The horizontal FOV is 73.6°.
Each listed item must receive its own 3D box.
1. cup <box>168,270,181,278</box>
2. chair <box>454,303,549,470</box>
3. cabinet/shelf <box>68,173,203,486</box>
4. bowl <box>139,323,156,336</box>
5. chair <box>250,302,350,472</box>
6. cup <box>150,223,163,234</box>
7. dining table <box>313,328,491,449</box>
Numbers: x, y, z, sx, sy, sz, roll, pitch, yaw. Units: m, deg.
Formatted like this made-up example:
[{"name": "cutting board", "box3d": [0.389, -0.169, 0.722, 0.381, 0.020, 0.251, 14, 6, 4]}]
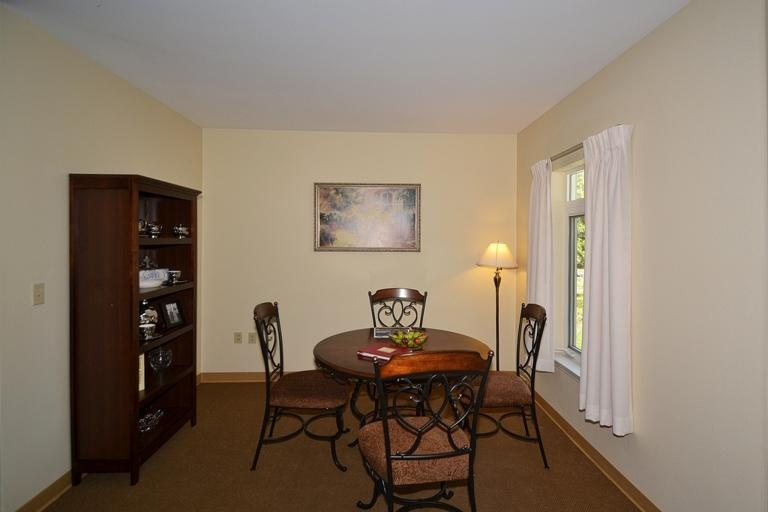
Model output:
[{"name": "cup", "box3d": [-1.928, 0.178, 4.733, 0.086, 0.071, 0.085, 3, -1, 0]}, {"name": "chair", "box3d": [0.981, 1.114, 4.555, 0.938, 1.312, 0.923, -1, 1, -21]}, {"name": "cabinet/shelf", "box3d": [-2.111, 0.574, 4.411, 0.567, 2.455, 1.003, 1, 3, 15]}, {"name": "bowl", "box3d": [-2.007, 0.638, 4.367, 0.099, 0.071, 0.101, 2, -9, 0]}, {"name": "chair", "box3d": [-0.707, 1.129, 4.549, 0.922, 1.344, 0.844, 1, 5, -8]}, {"name": "cup", "box3d": [-2.028, -0.230, 4.548, 0.093, 0.057, 0.130, 4, 17, -18]}, {"name": "dining table", "box3d": [-0.104, 0.929, 4.314, 1.044, 0.658, 1.088, 0, -2, -3]}]
